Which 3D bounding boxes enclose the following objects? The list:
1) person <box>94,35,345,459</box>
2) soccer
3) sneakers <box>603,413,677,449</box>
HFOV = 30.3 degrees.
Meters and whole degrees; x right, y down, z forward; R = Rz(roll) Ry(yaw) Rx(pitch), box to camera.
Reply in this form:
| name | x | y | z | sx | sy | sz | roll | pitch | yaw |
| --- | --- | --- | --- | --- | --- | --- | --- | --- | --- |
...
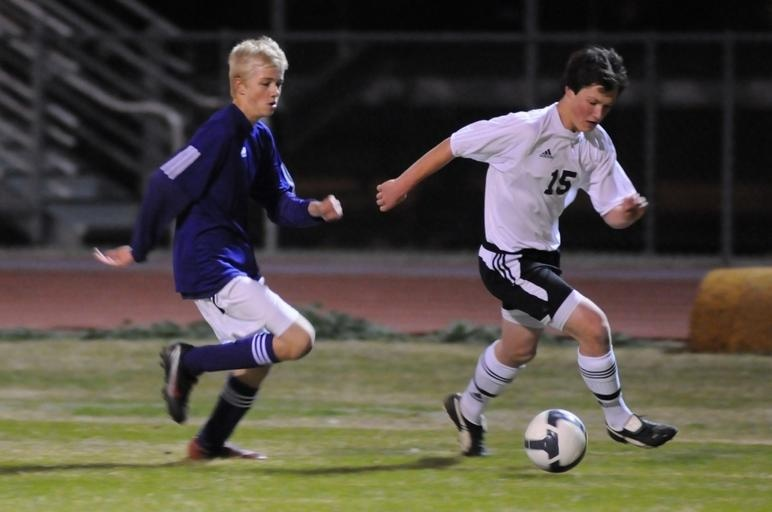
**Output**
| name | x | y | z | sx | sy | sz | roll | pitch | yaw |
| --- | --- | --- | --- | --- | --- | --- | --- | --- | --- |
| person | -1.499 | -0.056 | 13.026 | 1.727 | 3.823 | 1.036 | -3 | 14 | -15 |
| soccer | 1.490 | 1.721 | 13.292 | 0.761 | 0.618 | 0.637 | 0 | -1 | 24 |
| sneakers | 2.373 | 1.584 | 13.154 | 0.721 | 0.273 | 0.258 | -2 | 34 | 25 |
